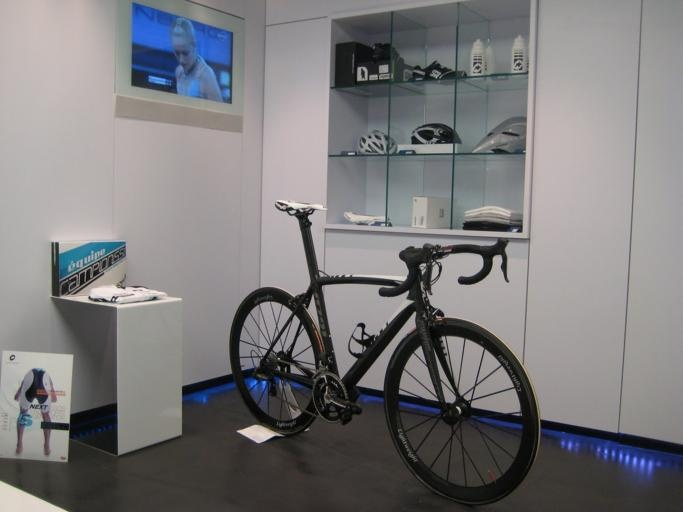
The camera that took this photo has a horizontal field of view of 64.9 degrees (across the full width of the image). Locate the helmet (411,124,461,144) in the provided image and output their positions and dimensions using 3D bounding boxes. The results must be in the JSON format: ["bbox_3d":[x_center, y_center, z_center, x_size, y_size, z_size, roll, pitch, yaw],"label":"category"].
[{"bbox_3d":[0.690,-0.915,4.037,0.263,0.109,0.188,15,25,36],"label":"helmet"}]

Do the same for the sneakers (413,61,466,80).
[{"bbox_3d":[0.701,-1.375,4.023,0.460,0.184,0.172,5,13,22],"label":"sneakers"}]

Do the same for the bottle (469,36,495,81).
[{"bbox_3d":[1.039,-1.447,3.928,0.296,0.302,0.158,-6,10,-37],"label":"bottle"}]

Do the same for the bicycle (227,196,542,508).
[{"bbox_3d":[0.218,0.416,3.709,2.673,1.575,1.391,9,12,42],"label":"bicycle"}]

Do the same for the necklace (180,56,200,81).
[{"bbox_3d":[-1.135,-1.429,4.057,0.112,0.128,0.152,12,32,20],"label":"necklace"}]

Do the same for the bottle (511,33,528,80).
[{"bbox_3d":[1.251,-1.435,3.783,0.097,0.278,0.102,-8,38,6],"label":"bottle"}]
